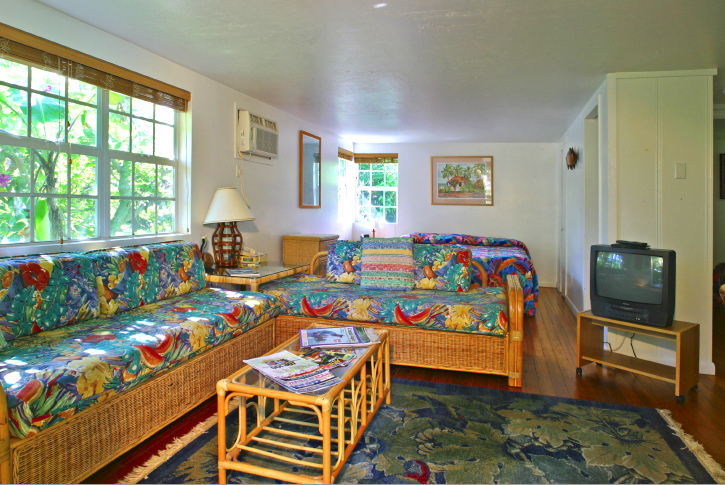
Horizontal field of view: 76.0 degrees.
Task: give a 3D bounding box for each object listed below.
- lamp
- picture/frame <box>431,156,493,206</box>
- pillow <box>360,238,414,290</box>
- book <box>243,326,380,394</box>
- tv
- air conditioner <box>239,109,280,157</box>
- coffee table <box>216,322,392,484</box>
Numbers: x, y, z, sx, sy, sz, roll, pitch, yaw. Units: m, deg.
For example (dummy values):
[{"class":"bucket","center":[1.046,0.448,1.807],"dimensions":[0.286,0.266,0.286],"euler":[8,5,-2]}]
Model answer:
[{"class":"lamp","center":[-1.406,-0.136,4.847],"dimensions":[0.550,0.809,0.527],"euler":[-3,-1,14]},{"class":"picture/frame","center":[1.746,-1.071,7.969],"dimensions":[0.923,0.701,0.033],"euler":[0,-1,10]},{"class":"pillow","center":[0.245,0.211,4.534],"dimensions":[0.581,0.531,0.192],"euler":[1,0,7]},{"class":"book","center":[-0.297,0.758,3.041],"dimensions":[0.374,0.081,0.595],"euler":[4,6,30]},{"class":"tv","center":[2.274,0.332,3.905],"dimensions":[0.333,0.671,0.645],"euler":[-9,9,-36]},{"class":"air conditioner","center":[-1.235,-1.237,5.398],"dimensions":[0.194,0.465,0.670],"euler":[4,5,17]},{"class":"coffee table","center":[-0.434,0.813,2.985],"dimensions":[0.773,0.631,1.343],"euler":[0,3,18]}]
